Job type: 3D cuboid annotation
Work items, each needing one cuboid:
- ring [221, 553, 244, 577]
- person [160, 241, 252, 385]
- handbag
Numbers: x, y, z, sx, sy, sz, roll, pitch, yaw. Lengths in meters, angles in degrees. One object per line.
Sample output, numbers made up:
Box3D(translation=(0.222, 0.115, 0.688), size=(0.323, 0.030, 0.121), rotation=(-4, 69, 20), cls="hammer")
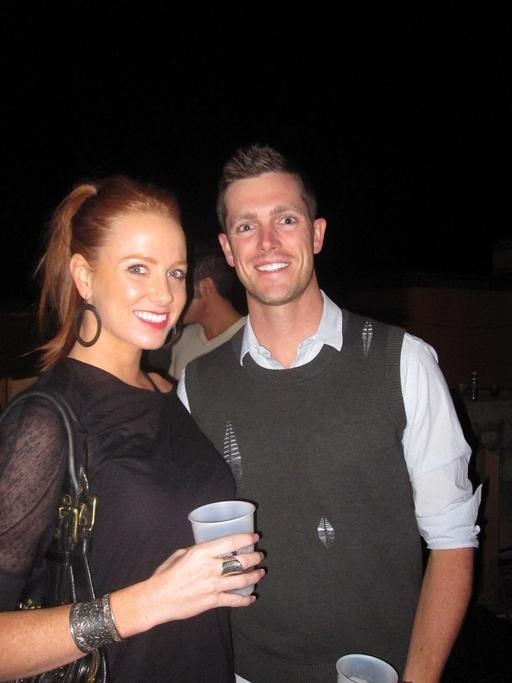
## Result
Box3D(translation=(-0.071, 0.642, 1.813), size=(0.071, 0.046, 0.024), rotation=(-5, 13, -34), cls="ring")
Box3D(translation=(-0.289, -0.177, 4.609), size=(0.723, 1.105, 1.390), rotation=(5, 12, -7), cls="person")
Box3D(translation=(-0.550, 0.569, 1.876), size=(0.193, 0.731, 0.478), rotation=(5, 7, -4), cls="handbag")
